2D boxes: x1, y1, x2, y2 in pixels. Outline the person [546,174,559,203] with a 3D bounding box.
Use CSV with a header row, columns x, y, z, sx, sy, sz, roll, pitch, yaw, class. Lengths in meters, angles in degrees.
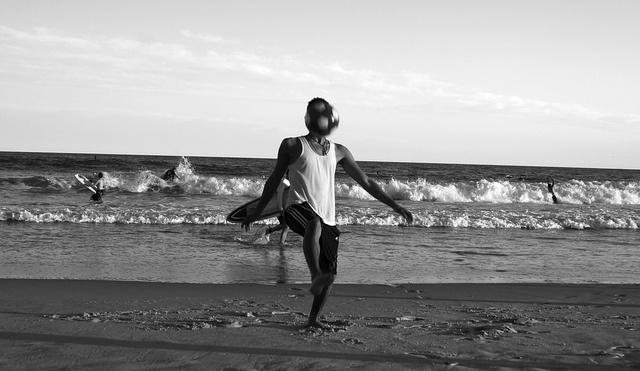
x,y,z,sx,sy,sz,roll,pitch,yaw,class
13.740,0.172,34.524,0.535,1.536,0.434,-11,19,12,person
